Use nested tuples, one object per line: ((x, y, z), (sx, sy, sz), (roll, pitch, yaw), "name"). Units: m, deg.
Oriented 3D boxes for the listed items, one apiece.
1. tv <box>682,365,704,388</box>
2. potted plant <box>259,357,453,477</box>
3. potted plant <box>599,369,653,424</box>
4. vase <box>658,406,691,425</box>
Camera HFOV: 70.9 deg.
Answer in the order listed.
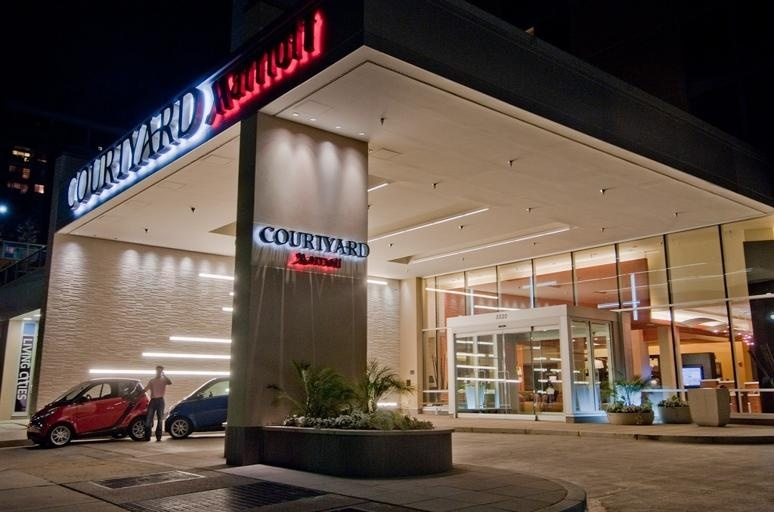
((11.416, 4.497, 20.249), (0.104, 0.812, 0.949), (7, -12, -33), "tv")
((-0.260, 3.462, 11.410), (3.041, 1.514, 2.921), (6, -10, -38), "potted plant")
((8.835, 5.276, 19.692), (1.908, 1.486, 1.711), (0, -5, 13), "potted plant")
((10.020, 5.537, 18.917), (0.824, 0.330, 0.769), (6, -12, -26), "vase")
